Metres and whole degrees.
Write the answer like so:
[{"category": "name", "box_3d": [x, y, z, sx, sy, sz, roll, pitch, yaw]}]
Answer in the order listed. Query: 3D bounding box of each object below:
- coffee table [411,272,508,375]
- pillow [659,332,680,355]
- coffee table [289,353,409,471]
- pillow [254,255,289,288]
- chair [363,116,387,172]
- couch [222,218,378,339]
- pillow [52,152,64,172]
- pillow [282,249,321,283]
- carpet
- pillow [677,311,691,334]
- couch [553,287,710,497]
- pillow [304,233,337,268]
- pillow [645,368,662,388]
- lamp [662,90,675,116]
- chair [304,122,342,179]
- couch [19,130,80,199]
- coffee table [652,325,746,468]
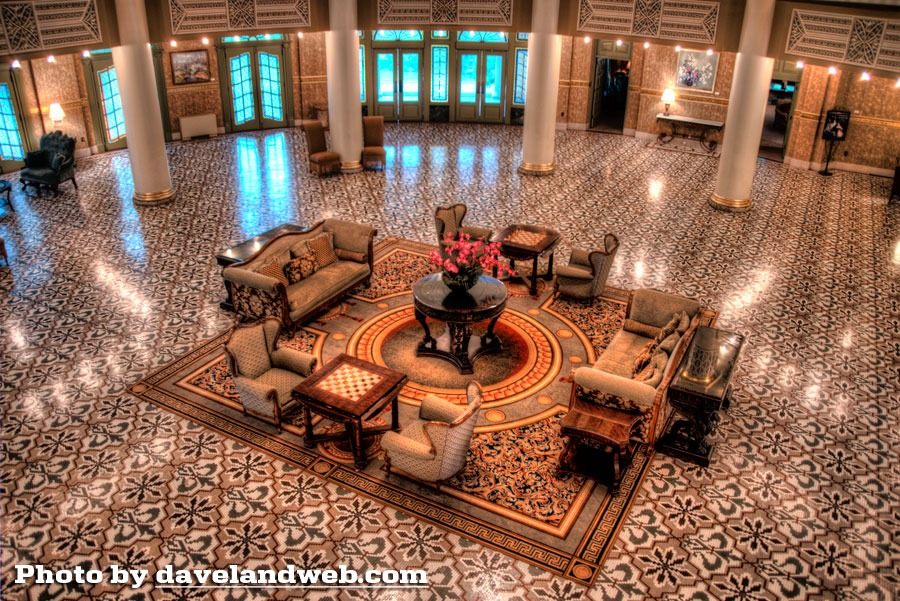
[{"category": "coffee table", "box_3d": [0.137, 0.337, 8.708, 1.451, 1.007, 1.499, -20, 32, -37]}, {"category": "pillow", "box_3d": [2.985, 0.568, 7.347, 0.200, 0.112, 0.339, 19, 55, 37]}, {"category": "coffee table", "box_3d": [-1.332, 1.453, 7.220, 1.395, 0.804, 1.367, -16, 28, -35]}, {"category": "pillow", "box_3d": [-2.977, -0.531, 9.026, 0.217, 0.491, 0.760, -20, 0, 24]}, {"category": "chair", "box_3d": [-2.250, -4.512, 15.489, 0.642, 1.371, 0.972, -2, 27, -3]}, {"category": "couch", "box_3d": [-2.553, -0.503, 9.535, 1.286, 1.156, 2.677, 18, 35, 22]}, {"category": "pillow", "box_3d": [-9.752, -3.425, 13.374, 0.251, 0.372, 0.412, 16, 22, -16]}, {"category": "pillow", "box_3d": [-2.660, -0.593, 9.438, 0.161, 0.367, 0.613, 0, 21, 36]}, {"category": "carpet", "box_3d": [0.172, 0.753, 9.277, 6.953, 0.059, 7.569, 19, 31, 24]}, {"category": "pillow", "box_3d": [3.280, 0.327, 7.599, 0.177, 0.088, 0.309, -6, 27, 35]}, {"category": "couch", "box_3d": [2.455, 1.309, 7.267, 1.059, 0.893, 2.747, 22, 48, 25]}, {"category": "pillow", "box_3d": [-2.337, -0.913, 9.855, 0.238, 0.585, 0.633, -13, 10, 39]}, {"category": "pillow", "box_3d": [2.580, 0.989, 6.835, 0.190, 0.073, 0.195, -43, 27, -12]}, {"category": "lamp", "box_3d": [7.209, -6.584, 17.877, 0.480, 0.796, 0.628, 8, 28, 16]}, {"category": "chair", "box_3d": [-3.671, -4.265, 15.126, 0.827, 1.255, 0.980, -25, 44, -31]}, {"category": "couch", "box_3d": [-10.128, -3.458, 13.570, 1.317, 1.249, 1.109, -1, 39, -13]}, {"category": "coffee table", "box_3d": [3.222, 1.304, 7.080, 0.676, 0.928, 1.598, 19, 43, 20]}]
